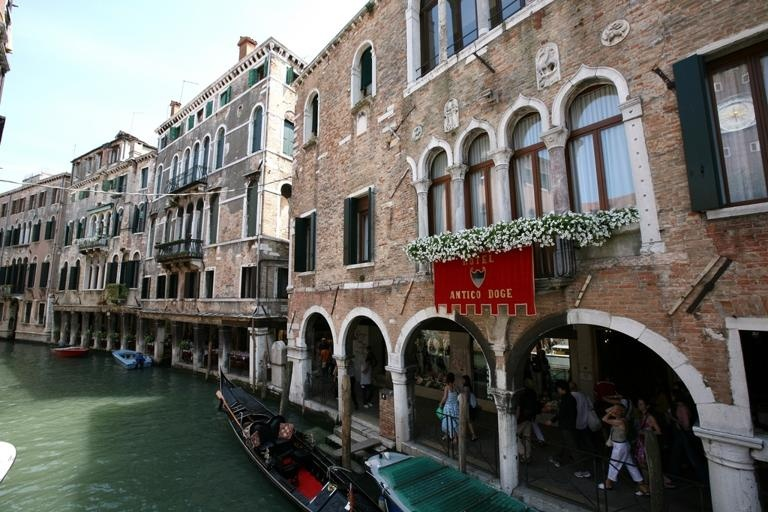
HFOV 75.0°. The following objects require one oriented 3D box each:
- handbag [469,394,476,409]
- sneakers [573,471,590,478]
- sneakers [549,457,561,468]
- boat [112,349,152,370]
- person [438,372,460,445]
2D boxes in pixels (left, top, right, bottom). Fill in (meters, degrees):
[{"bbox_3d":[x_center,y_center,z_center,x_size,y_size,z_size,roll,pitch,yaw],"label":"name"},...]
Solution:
[{"bbox_3d":[2.597,4.308,14.829,0.229,0.303,0.077,4,-18,-30],"label":"handbag"},{"bbox_3d":[5.142,5.689,13.043,0.365,0.165,0.148,-5,-19,8],"label":"sneakers"},{"bbox_3d":[4.611,5.550,13.458,0.122,0.146,0.352,-8,4,1],"label":"sneakers"},{"bbox_3d":[-14.966,5.949,29.204,2.484,0.808,0.992,-2,-5,45],"label":"boat"},{"bbox_3d":[1.910,4.385,14.436,0.525,1.904,0.743,1,-9,-13],"label":"person"}]
